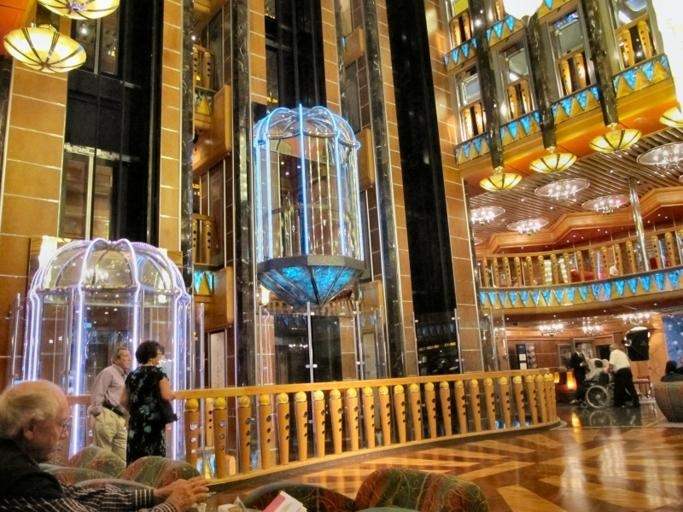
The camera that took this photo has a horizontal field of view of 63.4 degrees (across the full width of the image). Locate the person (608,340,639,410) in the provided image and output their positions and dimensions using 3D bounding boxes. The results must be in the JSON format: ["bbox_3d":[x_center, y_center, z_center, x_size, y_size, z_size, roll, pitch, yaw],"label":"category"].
[{"bbox_3d":[7.020,2.963,13.849,0.530,1.533,2.371,-11,-13,25],"label":"person"}]

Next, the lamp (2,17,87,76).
[{"bbox_3d":[-3.993,-2.767,7.477,0.794,0.546,0.791,-10,-27,-7],"label":"lamp"}]

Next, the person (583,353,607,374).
[{"bbox_3d":[6.633,2.818,14.299,0.424,0.348,0.883,-10,-12,20],"label":"person"}]

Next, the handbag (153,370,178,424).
[{"bbox_3d":[-1.598,1.267,5.002,0.109,0.421,0.249,-7,-4,-20],"label":"handbag"}]

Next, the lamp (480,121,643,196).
[{"bbox_3d":[4.770,-2.208,12.154,2.122,0.536,3.260,2,-14,-35],"label":"lamp"}]
